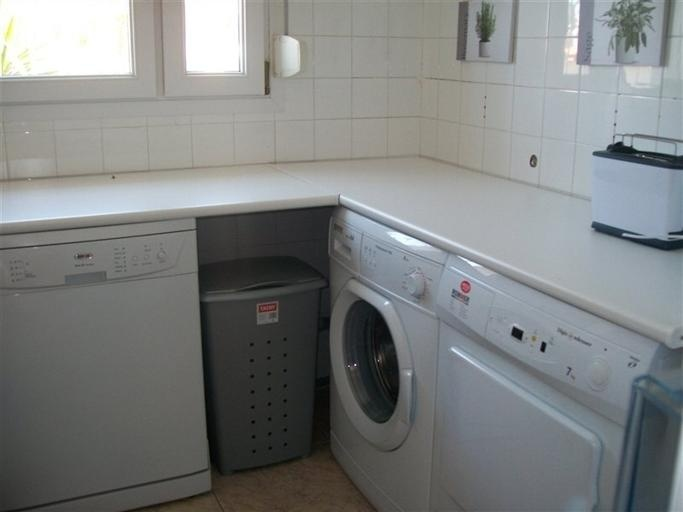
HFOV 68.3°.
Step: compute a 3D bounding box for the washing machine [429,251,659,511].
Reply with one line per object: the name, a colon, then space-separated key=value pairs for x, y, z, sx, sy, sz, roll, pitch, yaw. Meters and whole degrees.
washing machine: x=0.532 y=0.386 z=1.301 sx=0.423 sy=0.664 sz=0.417 roll=-7 pitch=17 yaw=-27
